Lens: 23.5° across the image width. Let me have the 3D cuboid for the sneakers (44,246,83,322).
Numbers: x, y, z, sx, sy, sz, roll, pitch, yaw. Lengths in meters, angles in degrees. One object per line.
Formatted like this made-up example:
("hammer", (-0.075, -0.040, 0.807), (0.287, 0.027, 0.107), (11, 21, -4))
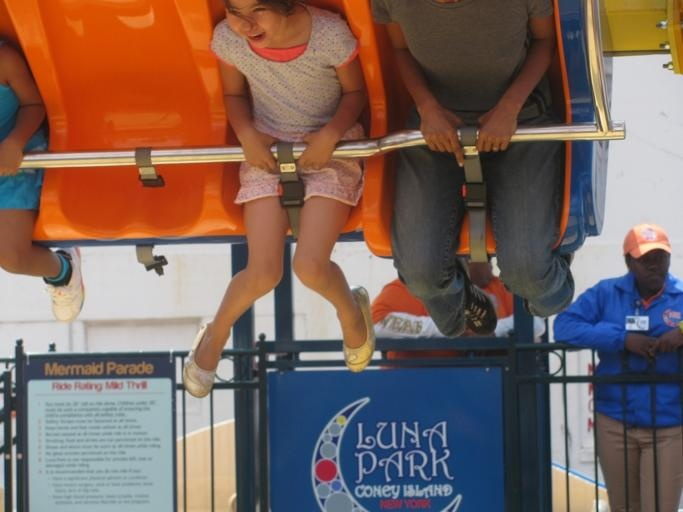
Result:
("sneakers", (-1.454, 0.141, 8.699), (0.149, 0.421, 0.183), (-5, 21, 1))

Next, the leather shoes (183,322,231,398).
("leather shoes", (-0.682, 0.539, 8.163), (0.146, 0.389, 0.136), (24, -17, -28))

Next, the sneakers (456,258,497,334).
("sneakers", (0.733, 0.255, 8.786), (0.176, 0.201, 0.511), (-3, -42, 18))

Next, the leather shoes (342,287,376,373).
("leather shoes", (0.094, 0.376, 8.166), (0.153, 0.413, 0.113), (0, 1, 8))
